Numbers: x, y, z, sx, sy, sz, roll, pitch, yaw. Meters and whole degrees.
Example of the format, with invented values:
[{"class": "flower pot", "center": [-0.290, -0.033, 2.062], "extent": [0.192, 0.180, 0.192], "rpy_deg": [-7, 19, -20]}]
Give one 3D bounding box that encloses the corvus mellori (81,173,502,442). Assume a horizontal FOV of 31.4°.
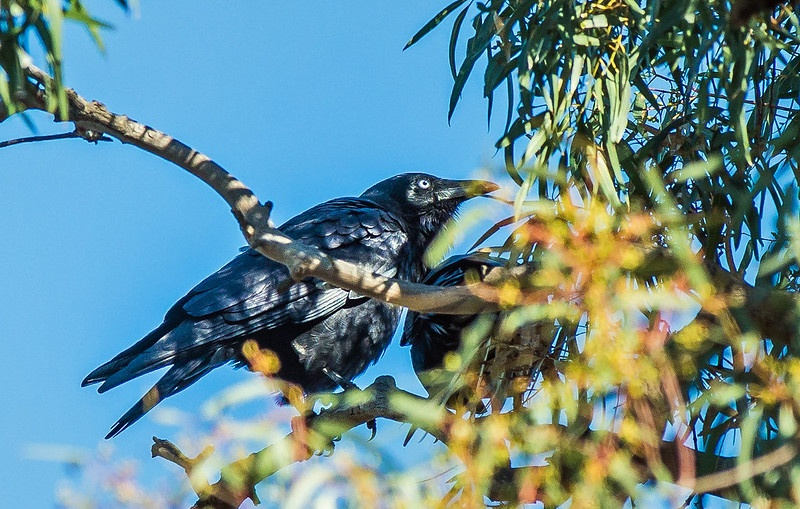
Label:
[{"class": "corvus mellori", "center": [-0.351, 0.026, 6.708], "extent": [1.723, 0.817, 1.120], "rpy_deg": [6, -65, 23]}]
